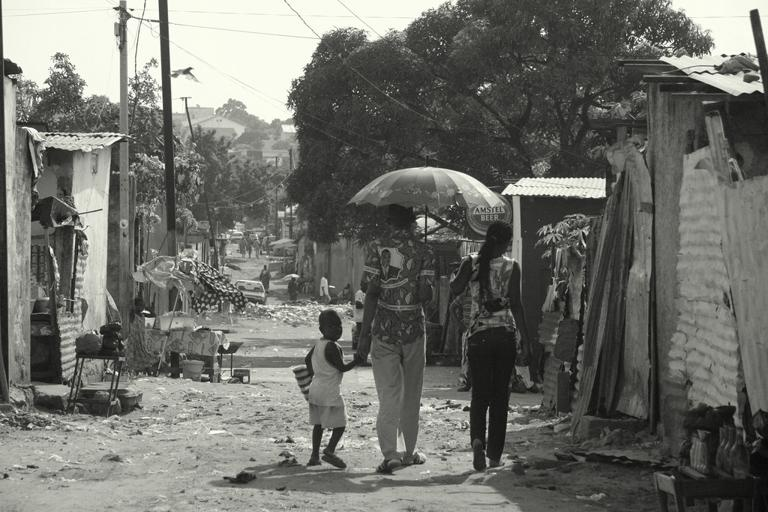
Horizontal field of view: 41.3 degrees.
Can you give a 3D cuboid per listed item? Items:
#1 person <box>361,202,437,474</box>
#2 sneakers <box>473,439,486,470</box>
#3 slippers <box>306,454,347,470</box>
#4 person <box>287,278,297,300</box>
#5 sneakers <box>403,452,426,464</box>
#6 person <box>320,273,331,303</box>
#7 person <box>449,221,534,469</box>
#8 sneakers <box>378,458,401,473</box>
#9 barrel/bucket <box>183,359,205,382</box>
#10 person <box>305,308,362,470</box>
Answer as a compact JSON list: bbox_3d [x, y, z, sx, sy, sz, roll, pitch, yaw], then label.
[{"bbox_3d":[0.122,0.930,11.620,0.907,3.023,0.489,0,-2,-9],"label":"person"},{"bbox_3d":[1.051,2.241,11.450,0.141,0.364,0.182,-1,-2,4],"label":"sneakers"},{"bbox_3d":[-0.655,2.317,11.578,0.463,0.231,0.183,-2,-3,15],"label":"slippers"},{"bbox_3d":[-4.088,1.470,44.936,0.298,1.017,1.310,0,-3,-8],"label":"person"},{"bbox_3d":[0.330,2.344,11.743,0.178,0.088,0.141,-3,5,-4],"label":"sneakers"},{"bbox_3d":[-2.742,1.626,46.661,0.461,1.156,1.588,-1,-3,-3],"label":"person"},{"bbox_3d":[1.201,1.020,11.572,0.817,2.811,0.387,-1,-2,7],"label":"person"},{"bbox_3d":[0.052,2.347,11.392,0.277,0.135,0.122,-7,-1,29],"label":"sneakers"},{"bbox_3d":[-3.818,2.260,20.100,0.410,0.374,0.490,0,-3,-12],"label":"barrel/bucket"},{"bbox_3d":[-0.620,1.515,11.683,0.590,1.800,0.774,-1,-2,-6],"label":"person"}]
